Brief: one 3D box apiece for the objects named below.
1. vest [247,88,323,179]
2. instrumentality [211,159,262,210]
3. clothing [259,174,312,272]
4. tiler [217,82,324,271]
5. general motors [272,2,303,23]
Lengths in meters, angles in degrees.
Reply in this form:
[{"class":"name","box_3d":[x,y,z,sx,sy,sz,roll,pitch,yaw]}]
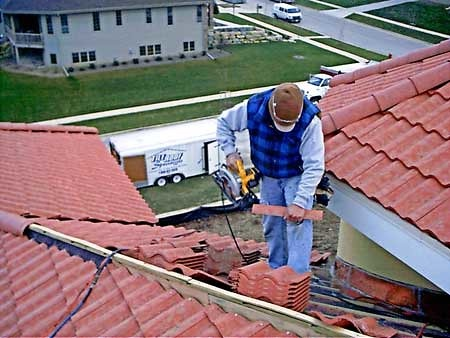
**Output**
[{"class":"vest","box_3d":[0.853,-0.570,9.149,1.142,1.299,0.727,13,38,16]},{"class":"instrumentality","box_3d":[0.221,0.121,9.200,0.546,0.670,0.933,-16,35,-22]},{"class":"clothing","box_3d":[0.939,0.842,9.276,0.826,2.195,0.525,-2,34,5]},{"class":"tiler","box_3d":[0.827,0.158,9.082,1.728,3.050,0.921,17,29,37]},{"class":"general motors","box_3d":[5.027,-12.463,47.015,1.383,1.169,2.341,-32,47,-28]}]
